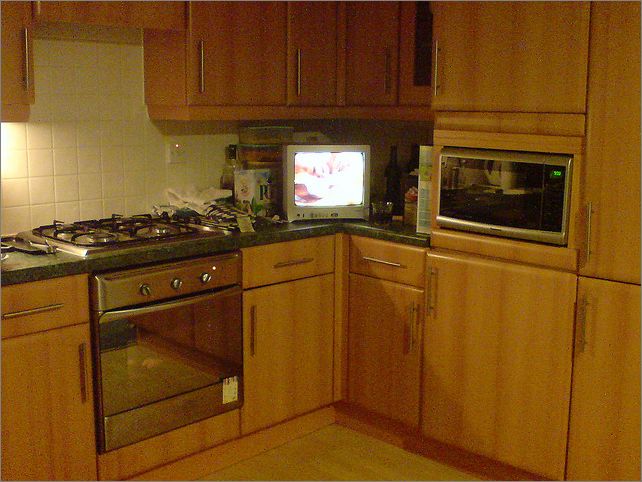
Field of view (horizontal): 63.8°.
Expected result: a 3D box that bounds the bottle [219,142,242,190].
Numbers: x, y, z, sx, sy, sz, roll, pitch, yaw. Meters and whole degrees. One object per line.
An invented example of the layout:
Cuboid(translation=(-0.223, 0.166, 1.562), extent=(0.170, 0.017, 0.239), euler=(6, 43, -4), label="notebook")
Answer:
Cuboid(translation=(-0.527, -0.434, 3.004), extent=(0.109, 0.255, 0.074), euler=(7, 12, 33), label="bottle")

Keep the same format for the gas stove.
Cuboid(translation=(-0.921, -0.061, 2.331), extent=(0.478, 0.082, 0.574), euler=(10, 13, 43), label="gas stove")

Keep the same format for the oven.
Cuboid(translation=(-0.714, 0.416, 2.619), extent=(0.717, 0.960, 0.882), euler=(7, 12, 44), label="oven")

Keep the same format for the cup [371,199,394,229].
Cuboid(translation=(0.315, -0.139, 2.742), extent=(0.137, 0.131, 0.130), euler=(0, 10, 0), label="cup")

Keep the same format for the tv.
Cuboid(translation=(0.043, -0.310, 2.744), extent=(0.445, 0.400, 0.039), euler=(-2, 10, -14), label="tv")
